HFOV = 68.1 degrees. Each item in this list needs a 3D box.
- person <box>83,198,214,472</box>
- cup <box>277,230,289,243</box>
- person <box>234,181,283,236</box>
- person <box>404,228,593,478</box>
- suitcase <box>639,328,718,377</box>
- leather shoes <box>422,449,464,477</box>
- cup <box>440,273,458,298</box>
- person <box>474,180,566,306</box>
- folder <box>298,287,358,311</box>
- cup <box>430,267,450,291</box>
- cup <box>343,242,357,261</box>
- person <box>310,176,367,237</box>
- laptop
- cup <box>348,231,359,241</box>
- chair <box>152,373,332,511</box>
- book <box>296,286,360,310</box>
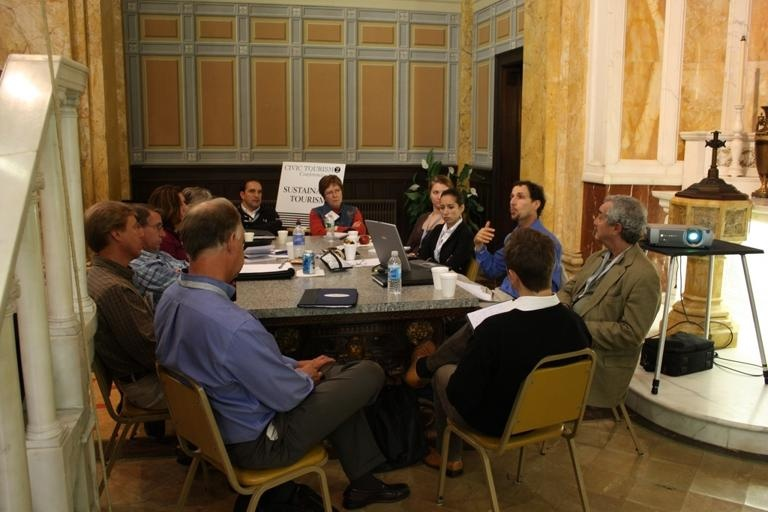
[{"bbox_3d":[-1.497,0.631,3.703,0.723,2.022,0.790,-2,2,29],"label":"person"},{"bbox_3d":[-0.992,-0.185,5.615,0.115,0.129,0.118,0,-3,0],"label":"cup"},{"bbox_3d":[-1.546,-0.504,6.855,0.629,0.801,0.659,0,3,12],"label":"person"},{"bbox_3d":[0.579,0.629,3.160,0.623,1.566,0.870,-8,10,-39],"label":"person"},{"bbox_3d":[2.358,0.784,4.565,0.419,0.159,0.339,-5,5,-16],"label":"suitcase"},{"bbox_3d":[0.378,1.296,3.606,0.110,0.130,0.299,-6,17,-22],"label":"leather shoes"},{"bbox_3d":[0.403,0.208,3.804,0.139,0.155,0.141,-1,-1,0],"label":"cup"},{"bbox_3d":[1.109,0.140,4.629,0.678,1.416,0.644,0,-1,18],"label":"person"},{"bbox_3d":[-0.361,0.289,3.703,0.445,0.048,0.342,1,9,4],"label":"folder"},{"bbox_3d":[0.375,0.162,3.971,0.137,0.153,0.138,0,6,0],"label":"cup"},{"bbox_3d":[-0.292,-0.031,4.915,0.143,0.154,0.121,0,1,-36],"label":"cup"},{"bbox_3d":[-0.540,-0.485,6.442,0.585,0.803,0.486,-4,10,-6],"label":"person"},{"bbox_3d":[0.120,-0.110,4.241,0.351,0.317,0.417,-3,6,-29],"label":"laptop"},{"bbox_3d":[-0.299,-0.185,5.564,0.100,0.107,0.103,-2,10,0],"label":"cup"},{"bbox_3d":[-0.682,0.915,2.800,0.793,0.764,0.359,-3,8,-10],"label":"chair"},{"bbox_3d":[-0.365,0.283,3.723,0.322,0.034,0.246,0,15,3],"label":"book"}]
